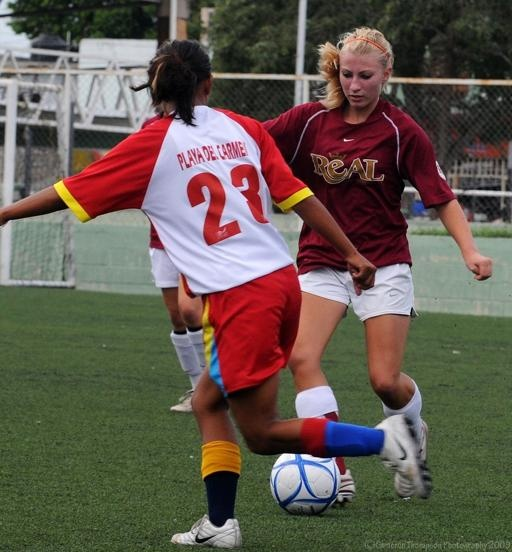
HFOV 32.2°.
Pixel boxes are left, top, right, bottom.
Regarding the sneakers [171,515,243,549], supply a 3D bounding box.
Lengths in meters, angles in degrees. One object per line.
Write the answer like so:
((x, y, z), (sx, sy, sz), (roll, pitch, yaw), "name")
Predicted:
((-0.145, 0.868, 3.035), (0.262, 0.096, 0.086), (2, -6, 18), "sneakers")

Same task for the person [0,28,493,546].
((0.124, -0.030, 3.232), (0.982, 1.890, 1.598), (9, 10, 37), "person")

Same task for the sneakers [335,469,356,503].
((0.363, 0.847, 3.551), (0.077, 0.108, 0.045), (3, -35, -4), "sneakers")

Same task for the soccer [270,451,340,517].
((0.187, 0.767, 3.443), (0.326, 0.272, 0.292), (1, -7, 4), "soccer")
